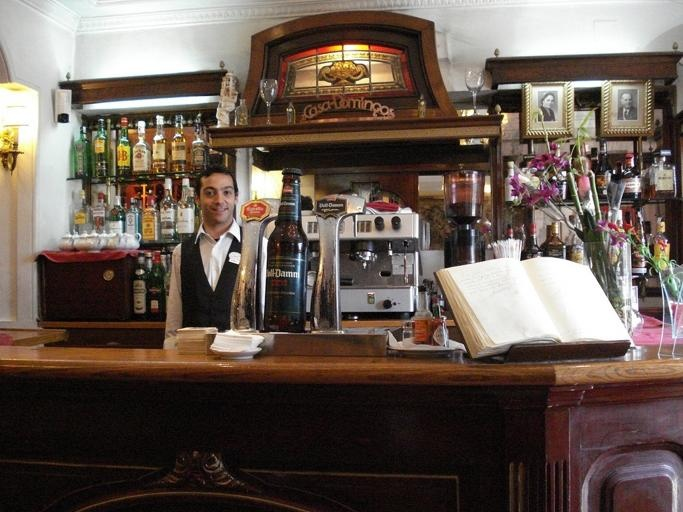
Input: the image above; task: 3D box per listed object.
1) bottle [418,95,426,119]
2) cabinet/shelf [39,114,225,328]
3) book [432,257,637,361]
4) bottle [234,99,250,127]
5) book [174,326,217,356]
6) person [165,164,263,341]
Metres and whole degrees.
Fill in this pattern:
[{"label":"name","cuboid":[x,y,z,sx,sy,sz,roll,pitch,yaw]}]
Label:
[{"label":"bottle","cuboid":[0.473,-0.879,3.843,0.056,0.118,0.180,-1,14,7]},{"label":"cabinet/shelf","cuboid":[-1.254,-0.189,3.942,1.411,1.300,0.737,0,-5,-1]},{"label":"book","cuboid":[0.520,0.134,1.795,0.457,0.236,0.263,-5,14,-12]},{"label":"bottle","cuboid":[-0.588,-0.849,3.881,0.088,0.147,0.248,-4,14,-7]},{"label":"book","cuboid":[-0.414,0.242,1.877,0.089,0.055,0.088,0,-3,-2]},{"label":"person","cuboid":[-0.659,-0.030,3.100,0.371,0.727,0.421,-5,14,-9]}]
